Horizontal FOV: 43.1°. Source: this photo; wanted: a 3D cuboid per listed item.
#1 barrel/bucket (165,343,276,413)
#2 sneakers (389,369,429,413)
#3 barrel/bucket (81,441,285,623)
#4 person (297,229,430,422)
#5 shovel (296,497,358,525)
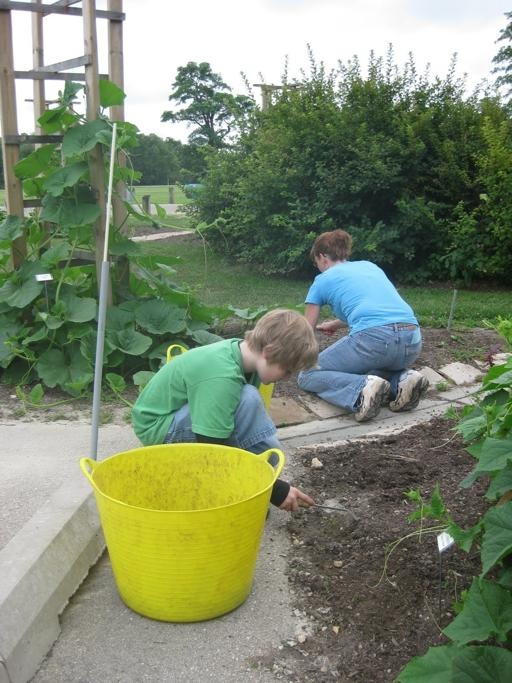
[{"bbox_3d":[-0.178,0.174,3.163,0.491,0.434,0.432,2,7,-2],"label":"barrel/bucket"},{"bbox_3d":[0.844,0.290,3.700,0.130,0.293,0.136,20,28,-17],"label":"sneakers"},{"bbox_3d":[-0.208,0.559,1.948,0.517,0.358,0.521,-1,11,0],"label":"barrel/bucket"},{"bbox_3d":[0.666,-0.168,4.005,0.777,1.043,1.009,-9,10,-7],"label":"person"},{"bbox_3d":[0.280,0.637,2.422,0.068,0.042,0.237,12,-4,-28],"label":"shovel"}]
